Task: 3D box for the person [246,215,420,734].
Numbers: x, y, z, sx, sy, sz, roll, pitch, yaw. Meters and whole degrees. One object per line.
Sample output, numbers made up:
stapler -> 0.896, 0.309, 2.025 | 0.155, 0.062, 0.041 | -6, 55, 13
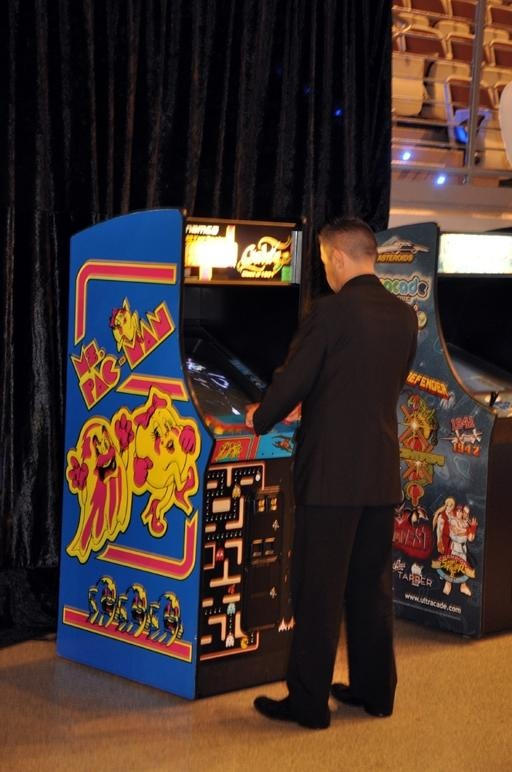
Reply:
person -> 0.210, 0.235, 1.797 | 0.351, 1.339, 0.475 | 1, -3, 41
